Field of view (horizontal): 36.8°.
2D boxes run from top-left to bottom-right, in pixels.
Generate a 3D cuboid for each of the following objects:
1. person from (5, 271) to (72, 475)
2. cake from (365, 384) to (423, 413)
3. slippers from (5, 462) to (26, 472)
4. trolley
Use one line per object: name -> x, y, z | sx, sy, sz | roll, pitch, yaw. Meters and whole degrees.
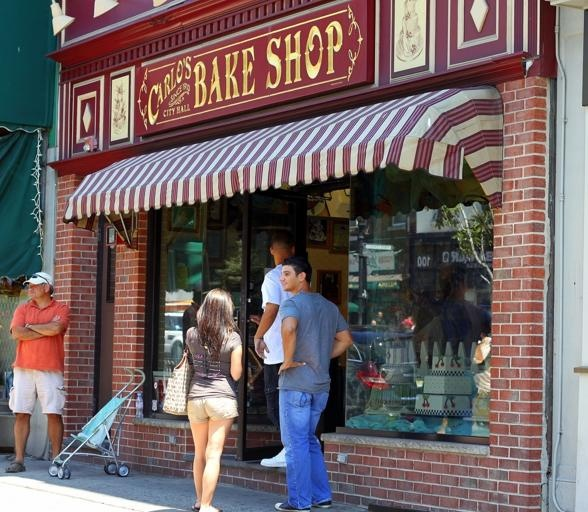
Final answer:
person -> -2.997, 1.300, 10.498 | 0.655, 2.528, 0.677 | 0, -3, -4
cake -> 0.956, 1.353, 8.402 | 0.404, 0.289, 0.454 | 0, 1, -35
slippers -> -3.182, 2.421, 10.130 | 0.225, 0.119, 0.223 | 3, -8, -26
trolley -> -2.219, 1.842, 9.986 | 0.834, 1.281, 0.525 | 6, -5, -26
